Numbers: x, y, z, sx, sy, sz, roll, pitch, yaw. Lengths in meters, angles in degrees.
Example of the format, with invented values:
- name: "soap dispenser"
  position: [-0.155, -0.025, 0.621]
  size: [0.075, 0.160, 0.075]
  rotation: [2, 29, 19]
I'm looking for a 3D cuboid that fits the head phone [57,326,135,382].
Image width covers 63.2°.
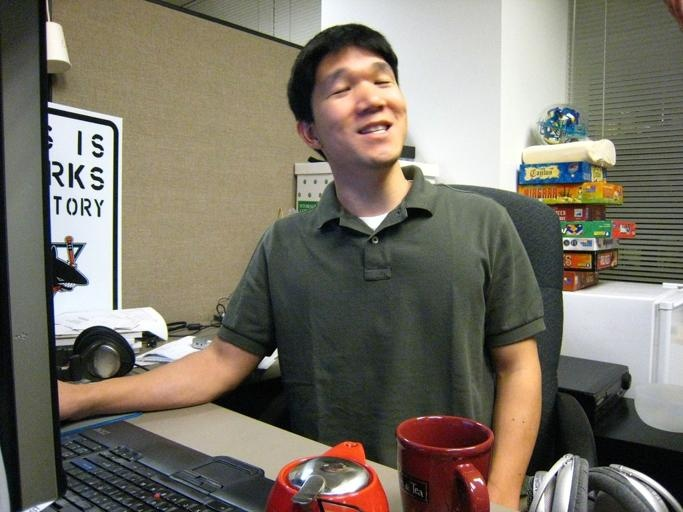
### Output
- name: "head phone"
  position: [-0.519, 0.204, 1.112]
  size: [0.151, 0.069, 0.118]
  rotation: [11, -3, -44]

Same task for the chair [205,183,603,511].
- name: "chair"
  position: [0.121, 0.133, 1.333]
  size: [0.906, 0.806, 0.554]
  rotation: [1, 4, 14]
